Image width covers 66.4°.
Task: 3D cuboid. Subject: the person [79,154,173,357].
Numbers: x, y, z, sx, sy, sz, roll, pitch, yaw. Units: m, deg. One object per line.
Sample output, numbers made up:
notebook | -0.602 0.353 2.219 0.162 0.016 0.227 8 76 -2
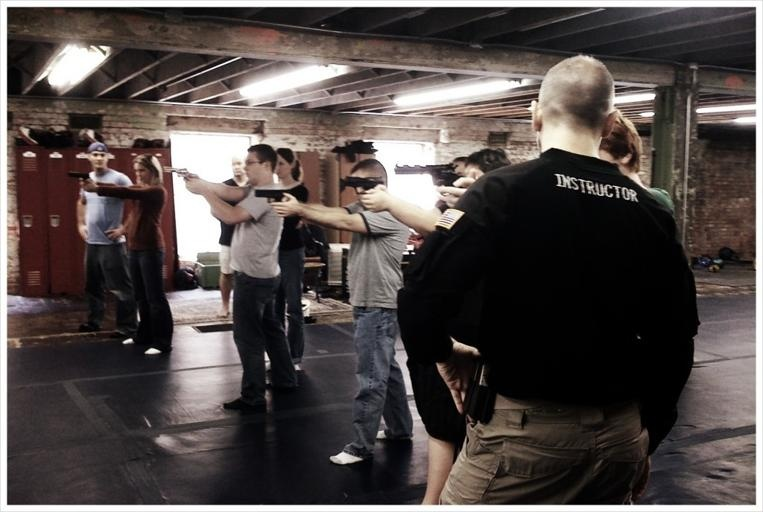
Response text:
person | -2.850 -0.019 7.095 0.871 2.397 0.688 12 17 42

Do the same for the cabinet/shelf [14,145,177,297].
cabinet/shelf | -5.350 -0.684 11.710 3.955 2.889 1.222 -2 -1 21

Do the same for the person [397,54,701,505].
person | 0.728 0.134 2.449 1.302 1.926 0.472 1 13 0
